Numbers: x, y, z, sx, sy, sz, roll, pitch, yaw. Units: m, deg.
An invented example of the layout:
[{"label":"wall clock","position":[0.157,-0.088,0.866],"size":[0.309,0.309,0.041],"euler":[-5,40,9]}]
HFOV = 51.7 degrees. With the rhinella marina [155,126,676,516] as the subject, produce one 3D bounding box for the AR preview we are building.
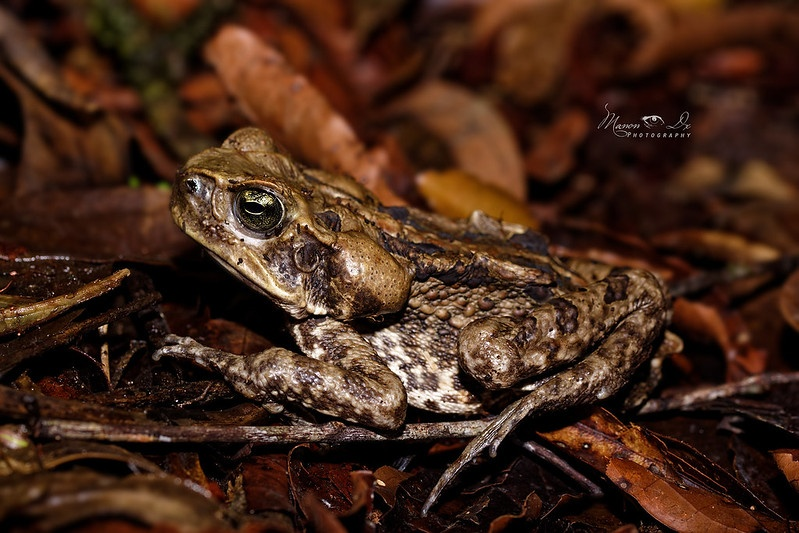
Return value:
[{"label":"rhinella marina","position":[0.086,0.157,5.200],"size":[3.203,1.216,2.299],"euler":[7,27,-2]}]
